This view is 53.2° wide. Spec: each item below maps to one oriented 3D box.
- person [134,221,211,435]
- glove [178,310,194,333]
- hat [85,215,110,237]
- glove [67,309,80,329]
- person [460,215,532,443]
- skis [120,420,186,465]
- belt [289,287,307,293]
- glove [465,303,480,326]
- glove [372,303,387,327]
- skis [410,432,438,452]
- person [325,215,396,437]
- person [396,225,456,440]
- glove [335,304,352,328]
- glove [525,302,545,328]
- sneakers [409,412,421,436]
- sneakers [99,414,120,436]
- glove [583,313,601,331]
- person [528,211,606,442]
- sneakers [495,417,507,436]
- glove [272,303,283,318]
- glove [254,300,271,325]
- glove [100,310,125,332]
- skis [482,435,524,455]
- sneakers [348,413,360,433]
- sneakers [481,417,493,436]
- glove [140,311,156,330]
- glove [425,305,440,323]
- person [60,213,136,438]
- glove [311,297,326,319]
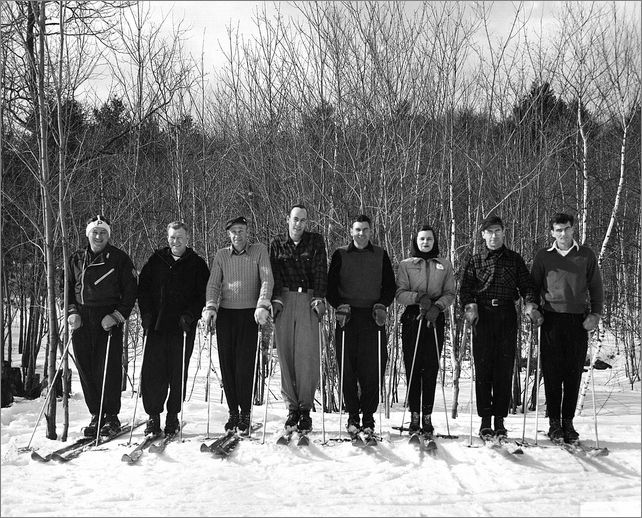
[{"bbox_3d":[-1.752,0.919,7.605,0.784,2.204,0.648,-3,9,-17],"label":"person"},{"bbox_3d":[-1.564,0.725,7.412,0.143,0.179,0.206,-2,-5,-3],"label":"glove"},{"bbox_3d":[-2.690,-0.438,7.728,0.228,0.290,0.264,1,-11,-18],"label":"hat"},{"bbox_3d":[-2.858,0.727,7.467,0.119,0.195,0.197,0,-41,-13],"label":"glove"},{"bbox_3d":[2.062,0.793,7.574,0.749,2.519,0.794,-6,10,-34],"label":"person"},{"bbox_3d":[-1.930,2.088,7.396,0.153,0.097,1.062,10,2,1],"label":"skis"},{"bbox_3d":[-0.281,0.361,7.583,0.208,0.060,0.020,1,8,2],"label":"belt"},{"bbox_3d":[1.748,0.641,7.509,0.141,0.232,0.188,-4,13,8],"label":"glove"},{"bbox_3d":[0.689,0.649,7.418,0.149,0.243,0.226,0,26,9],"label":"glove"},{"bbox_3d":[1.152,2.048,7.229,0.120,0.178,0.375,8,4,-19],"label":"skis"},{"bbox_3d":[0.454,0.766,7.534,0.803,2.513,0.744,1,8,7],"label":"person"},{"bbox_3d":[1.185,0.893,7.623,0.655,2.504,0.853,4,9,24],"label":"person"},{"bbox_3d":[0.244,0.650,7.381,0.157,0.251,0.231,3,-21,-8],"label":"glove"},{"bbox_3d":[2.416,0.668,7.379,0.182,0.291,0.081,6,-19,-39],"label":"glove"},{"bbox_3d":[1.078,1.890,7.494,0.078,0.296,0.112,2,-7,9],"label":"sneakers"},{"bbox_3d":[-2.511,1.980,7.635,0.098,0.224,0.345,-3,-30,4],"label":"sneakers"},{"bbox_3d":[3.143,0.731,7.451,0.154,0.238,0.349,6,11,33],"label":"glove"},{"bbox_3d":[2.838,0.935,7.488,0.749,2.251,0.630,2,9,10],"label":"person"},{"bbox_3d":[2.063,1.922,7.410,0.141,0.175,0.229,1,10,8],"label":"sneakers"},{"bbox_3d":[-0.509,0.605,7.525,0.109,0.165,0.162,-3,-3,0],"label":"glove"},{"bbox_3d":[-0.682,0.618,7.383,0.216,0.359,0.157,1,-7,5],"label":"glove"},{"bbox_3d":[-2.410,0.742,7.469,0.239,0.207,0.103,-27,-50,11],"label":"glove"},{"bbox_3d":[2.038,2.096,7.254,0.148,0.250,0.495,3,-18,-21],"label":"skis"},{"bbox_3d":[0.376,1.922,7.526,0.126,0.223,0.184,4,0,-6],"label":"sneakers"},{"bbox_3d":[1.906,1.942,7.430,0.079,0.209,0.277,1,-29,5],"label":"sneakers"},{"bbox_3d":[-2.041,0.742,7.532,0.219,0.228,0.116,6,11,32],"label":"glove"},{"bbox_3d":[1.284,0.637,7.406,0.182,0.213,0.123,-1,9,-5],"label":"glove"},{"bbox_3d":[-2.590,0.780,7.640,0.786,2.507,0.581,-2,9,-16],"label":"person"},{"bbox_3d":[-0.033,0.553,7.333,0.132,0.225,0.082,8,-4,-6],"label":"glove"}]
